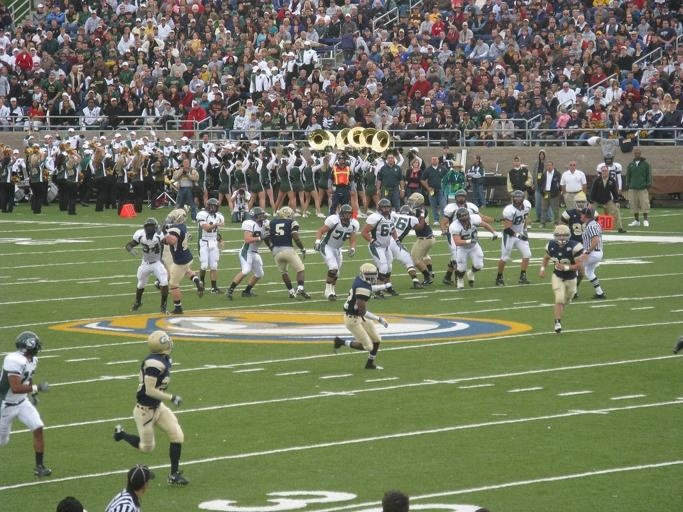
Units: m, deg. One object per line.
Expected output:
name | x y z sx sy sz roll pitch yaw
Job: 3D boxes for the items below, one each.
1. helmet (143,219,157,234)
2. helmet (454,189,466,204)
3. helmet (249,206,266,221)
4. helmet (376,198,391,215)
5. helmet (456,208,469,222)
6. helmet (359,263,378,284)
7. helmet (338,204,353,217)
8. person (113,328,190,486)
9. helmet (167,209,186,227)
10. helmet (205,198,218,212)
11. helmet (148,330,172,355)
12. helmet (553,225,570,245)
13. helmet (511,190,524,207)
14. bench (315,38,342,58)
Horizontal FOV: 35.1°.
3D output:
helmet | -3.419 -0.518 19.323 0.214 0.264 0.272 0 10 -9
helmet | 2.459 -1.209 22.087 0.215 0.267 0.280 0 -5 -1
helmet | -1.630 -0.831 21.188 0.258 0.218 0.211 -3 18 -7
helmet | 0.866 -0.962 21.234 0.233 0.285 0.288 0 8 -14
helmet | 2.442 -0.822 21.647 0.263 0.251 0.211 1 11 11
helmet | 0.417 0.275 16.008 0.242 0.332 0.345 -1 10 -3
helmet | 0.092 -0.880 20.943 0.230 0.238 0.553 -1 11 -1
person | -2.115 1.660 12.604 0.810 1.823 0.909 1 7 9
helmet | -2.939 -0.708 19.528 0.323 0.260 0.327 -10 18 -27
helmet | -2.587 -1.019 21.724 0.268 0.281 0.238 0 12 -2
helmet | -2.097 1.017 12.526 0.237 0.300 0.353 -2 10 -7
helmet | 3.803 -0.371 18.580 0.246 0.271 0.317 -1 -3 4
helmet | 3.636 -1.161 22.073 0.201 0.325 0.366 1 11 12
bench | -0.441 -7.525 38.567 0.707 0.763 0.754 1 1 30
